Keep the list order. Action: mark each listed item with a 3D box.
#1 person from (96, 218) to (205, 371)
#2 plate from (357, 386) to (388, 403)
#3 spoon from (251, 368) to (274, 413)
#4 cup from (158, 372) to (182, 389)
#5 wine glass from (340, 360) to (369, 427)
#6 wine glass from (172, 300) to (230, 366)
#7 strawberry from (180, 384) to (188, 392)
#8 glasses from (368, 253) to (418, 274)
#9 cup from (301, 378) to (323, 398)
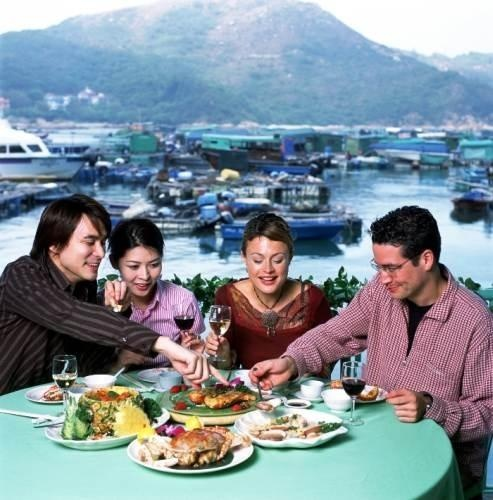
[{"bbox_3d":[-0.335,0.167,2.069,0.433,0.633,0.389,-4,16,-29],"label":"person"},{"bbox_3d":[0.382,0.446,1.563,0.100,0.035,0.090,-15,-1,5],"label":"plate"},{"bbox_3d":[0.039,0.410,1.448,0.018,0.083,0.051,-30,-16,30],"label":"spoon"},{"bbox_3d":[-0.250,0.417,1.614,0.051,0.035,0.059,0,0,5],"label":"cup"},{"bbox_3d":[0.300,0.394,1.388,0.060,0.149,0.061,8,10,31],"label":"wine glass"},{"bbox_3d":[-0.155,0.293,1.837,0.165,0.206,0.158,4,10,13],"label":"wine glass"},{"bbox_3d":[-0.191,0.426,1.554,0.016,0.014,0.021,-18,4,32],"label":"strawberry"},{"bbox_3d":[0.474,0.043,1.602,0.137,0.032,0.125,-9,7,-26],"label":"glasses"},{"bbox_3d":[0.212,0.439,1.601,0.058,0.032,0.057,-1,-2,0],"label":"cup"}]
